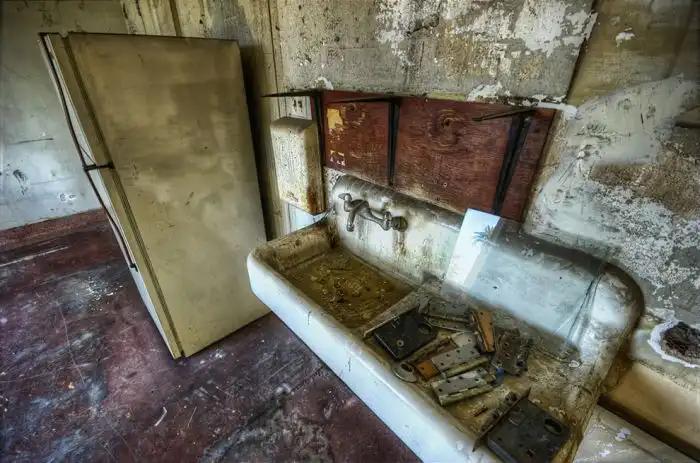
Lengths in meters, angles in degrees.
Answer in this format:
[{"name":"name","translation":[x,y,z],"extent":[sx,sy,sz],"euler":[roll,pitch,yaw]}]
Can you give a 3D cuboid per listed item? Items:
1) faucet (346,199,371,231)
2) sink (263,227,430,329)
[{"name":"faucet","translation":[0.042,-0.114,2.311],"extent":[0.060,0.109,0.282],"euler":[11,39,20]},{"name":"sink","translation":[-0.044,0.227,2.339],"extent":[0.718,0.300,0.466],"euler":[18,31,33]}]
